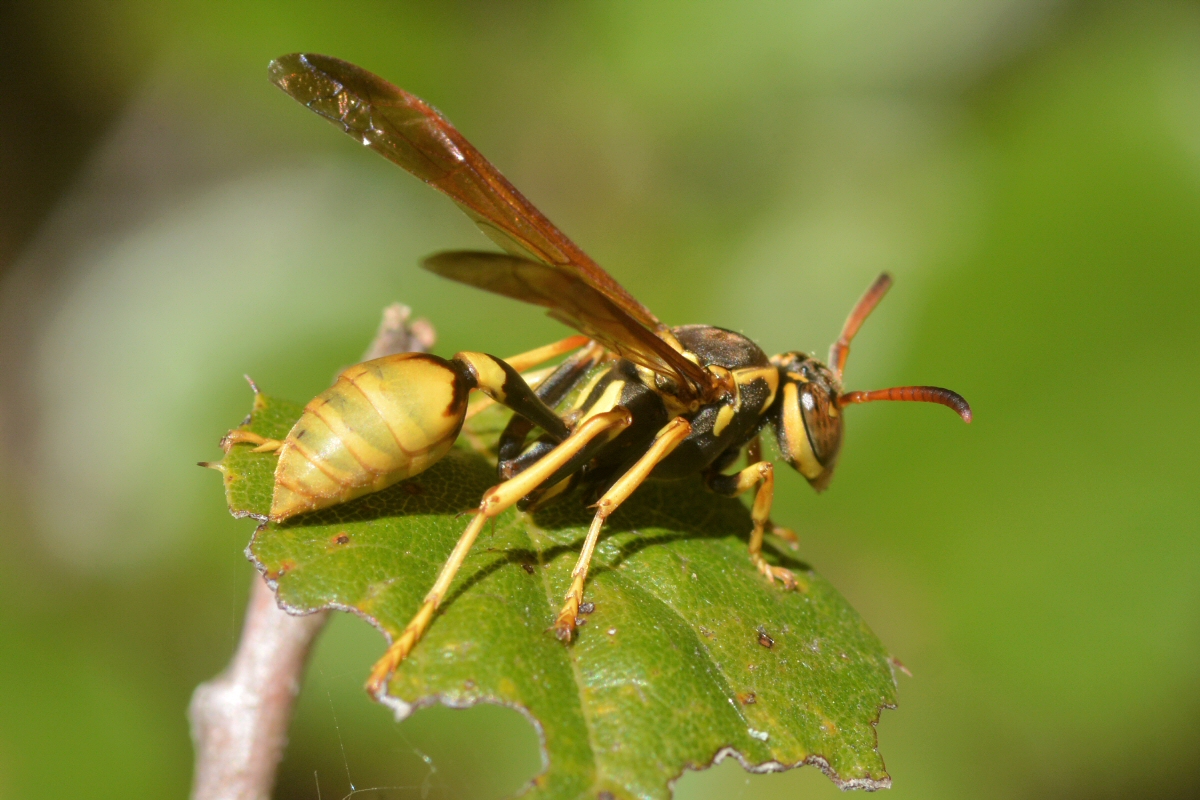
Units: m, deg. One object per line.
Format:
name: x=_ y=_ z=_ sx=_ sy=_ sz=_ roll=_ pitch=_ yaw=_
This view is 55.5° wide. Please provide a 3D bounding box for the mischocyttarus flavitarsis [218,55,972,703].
mischocyttarus flavitarsis: x=0.163 y=-0.289 z=6.130 sx=3.893 sy=2.686 sz=2.252 roll=-3 pitch=12 yaw=-17
